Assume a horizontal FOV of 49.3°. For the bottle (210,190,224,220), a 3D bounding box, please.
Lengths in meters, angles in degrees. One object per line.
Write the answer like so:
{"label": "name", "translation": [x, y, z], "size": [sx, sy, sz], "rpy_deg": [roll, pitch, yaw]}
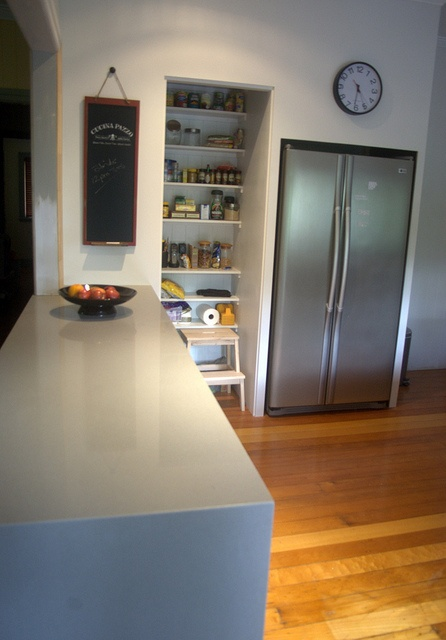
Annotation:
{"label": "bottle", "translation": [-0.042, -0.895, 3.781], "size": [0.109, 0.221, 0.186], "rpy_deg": [4, 9, -1]}

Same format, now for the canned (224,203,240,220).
{"label": "canned", "translation": [0.070, -0.859, 3.821], "size": [0.122, 0.149, 0.134], "rpy_deg": [1, 16, -1]}

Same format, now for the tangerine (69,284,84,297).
{"label": "tangerine", "translation": [-0.665, -0.133, 2.199], "size": [0.037, 0.047, 0.040], "rpy_deg": [21, 31, 13]}

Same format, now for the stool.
{"label": "stool", "translation": [-0.160, 0.326, 3.795], "size": [0.489, 0.719, 0.594], "rpy_deg": [-2, 11, -8]}

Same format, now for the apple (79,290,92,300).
{"label": "apple", "translation": [-0.608, -0.115, 2.147], "size": [0.041, 0.041, 0.023], "rpy_deg": [28, 34, -28]}

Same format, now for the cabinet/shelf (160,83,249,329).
{"label": "cabinet/shelf", "translation": [-0.147, -0.855, 3.693], "size": [0.654, 1.790, 0.496], "rpy_deg": [3, 9, -10]}

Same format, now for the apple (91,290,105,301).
{"label": "apple", "translation": [-0.554, -0.118, 2.166], "size": [0.045, 0.051, 0.050], "rpy_deg": [-4, -19, 8]}

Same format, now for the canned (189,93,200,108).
{"label": "canned", "translation": [-0.198, -1.548, 3.441], "size": [0.100, 0.107, 0.051], "rpy_deg": [-3, 12, -39]}

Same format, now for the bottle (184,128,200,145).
{"label": "bottle", "translation": [-0.233, -1.346, 3.563], "size": [0.117, 0.119, 0.116], "rpy_deg": [12, 24, 24]}

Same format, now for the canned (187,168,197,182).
{"label": "canned", "translation": [-0.233, -1.063, 3.582], "size": [0.069, 0.104, 0.085], "rpy_deg": [8, 10, 18]}

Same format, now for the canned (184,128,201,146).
{"label": "canned", "translation": [-0.235, -1.344, 3.567], "size": [0.120, 0.123, 0.119], "rpy_deg": [12, 24, 24]}

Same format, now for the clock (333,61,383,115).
{"label": "clock", "translation": [0.875, -1.535, 3.205], "size": [0.334, 0.345, 0.059], "rpy_deg": [0, 8, -19]}

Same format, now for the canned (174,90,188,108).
{"label": "canned", "translation": [-0.293, -1.534, 3.387], "size": [0.097, 0.112, 0.100], "rpy_deg": [0, 9, -18]}

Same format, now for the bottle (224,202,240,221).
{"label": "bottle", "translation": [0.064, -0.842, 3.760], "size": [0.142, 0.147, 0.110], "rpy_deg": [1, 6, -10]}

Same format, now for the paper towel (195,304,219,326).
{"label": "paper towel", "translation": [-0.121, -0.042, 3.779], "size": [0.192, 0.141, 0.233], "rpy_deg": [5, 10, -1]}
